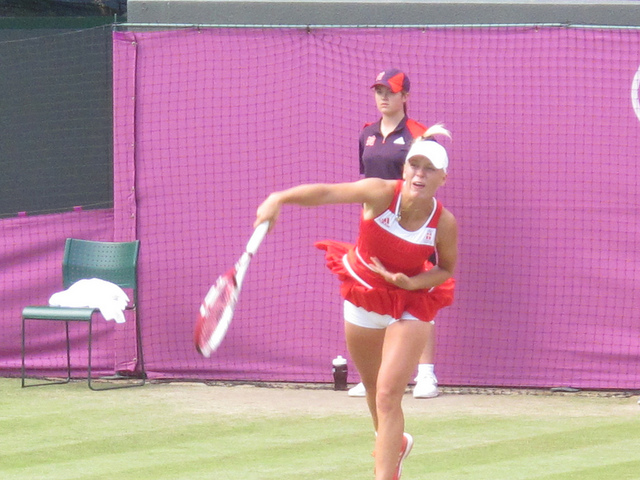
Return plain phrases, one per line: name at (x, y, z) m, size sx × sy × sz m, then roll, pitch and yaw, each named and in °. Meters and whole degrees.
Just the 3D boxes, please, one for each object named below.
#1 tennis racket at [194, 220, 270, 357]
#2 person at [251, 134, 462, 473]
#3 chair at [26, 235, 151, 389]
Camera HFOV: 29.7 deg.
tennis racket at (-0.642, 0.348, 8.607) m, size 0.573 × 0.981 × 0.346 m, roll -5°, pitch 16°, yaw -18°
person at (0.453, 0.419, 9.196) m, size 0.958 × 2.379 × 1.231 m, roll 6°, pitch 16°, yaw 23°
chair at (-2.351, 0.734, 11.910) m, size 1.270 × 1.434 × 0.921 m, roll 0°, pitch 15°, yaw 3°
